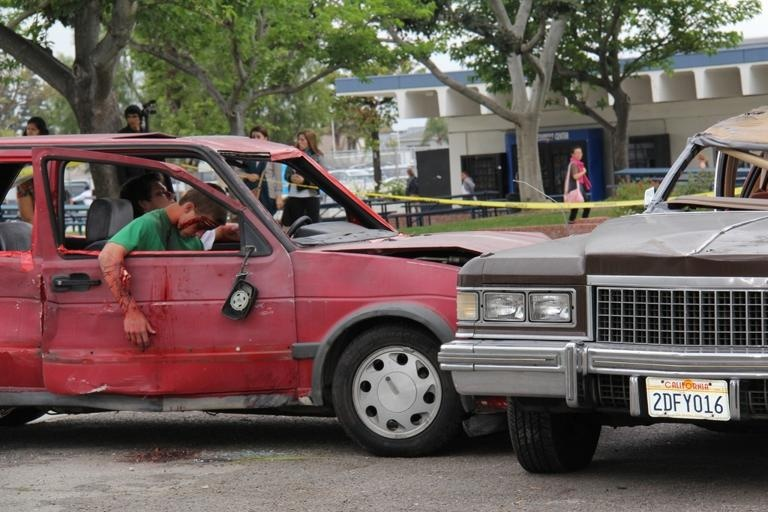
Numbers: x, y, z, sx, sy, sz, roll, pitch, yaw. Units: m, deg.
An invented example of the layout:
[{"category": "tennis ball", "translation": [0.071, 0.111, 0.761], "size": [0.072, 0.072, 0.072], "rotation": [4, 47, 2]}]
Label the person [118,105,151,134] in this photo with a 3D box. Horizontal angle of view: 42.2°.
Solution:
[{"category": "person", "translation": [-3.100, -1.691, 12.344], "size": [0.265, 0.353, 0.963], "rotation": [-3, 3, -15]}]

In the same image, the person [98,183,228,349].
[{"category": "person", "translation": [-1.730, -0.004, 8.086], "size": [0.724, 1.309, 1.071], "rotation": [31, 17, 18]}]

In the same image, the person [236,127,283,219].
[{"category": "person", "translation": [-1.433, -0.736, 11.413], "size": [0.552, 1.427, 0.445], "rotation": [-3, -4, -4]}]
